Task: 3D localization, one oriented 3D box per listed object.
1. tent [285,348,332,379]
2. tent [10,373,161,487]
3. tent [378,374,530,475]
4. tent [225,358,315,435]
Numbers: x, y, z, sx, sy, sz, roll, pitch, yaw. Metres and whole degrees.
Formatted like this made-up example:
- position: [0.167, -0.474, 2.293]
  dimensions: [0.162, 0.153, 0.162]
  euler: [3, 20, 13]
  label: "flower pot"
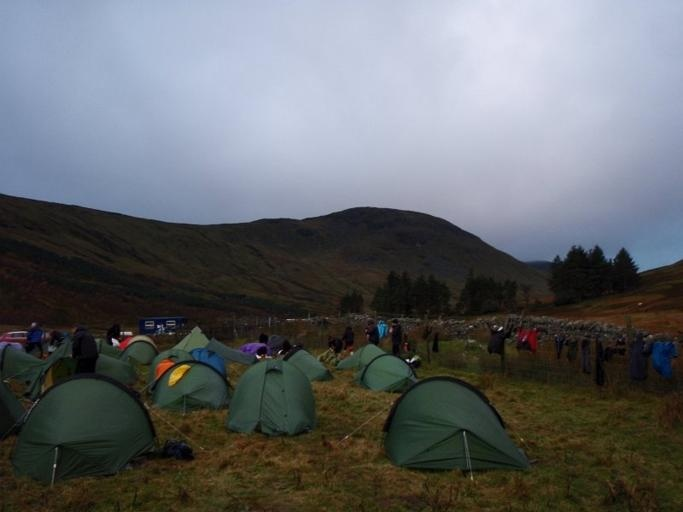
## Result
- position: [-1.357, 4.928, 20.926]
  dimensions: [1.912, 0.742, 1.479]
  euler: [27, 10, 27]
  label: "tent"
- position: [-6.508, 4.463, 12.091]
  dimensions: [2.427, 1.395, 2.683]
  euler: [4, 6, -8]
  label: "tent"
- position: [2.800, 4.376, 12.390]
  dimensions: [3.346, 2.238, 1.028]
  euler: [-1, -1, 13]
  label: "tent"
- position: [-2.137, 4.366, 14.739]
  dimensions: [2.595, 2.165, 1.152]
  euler: [-1, -1, -1]
  label: "tent"
